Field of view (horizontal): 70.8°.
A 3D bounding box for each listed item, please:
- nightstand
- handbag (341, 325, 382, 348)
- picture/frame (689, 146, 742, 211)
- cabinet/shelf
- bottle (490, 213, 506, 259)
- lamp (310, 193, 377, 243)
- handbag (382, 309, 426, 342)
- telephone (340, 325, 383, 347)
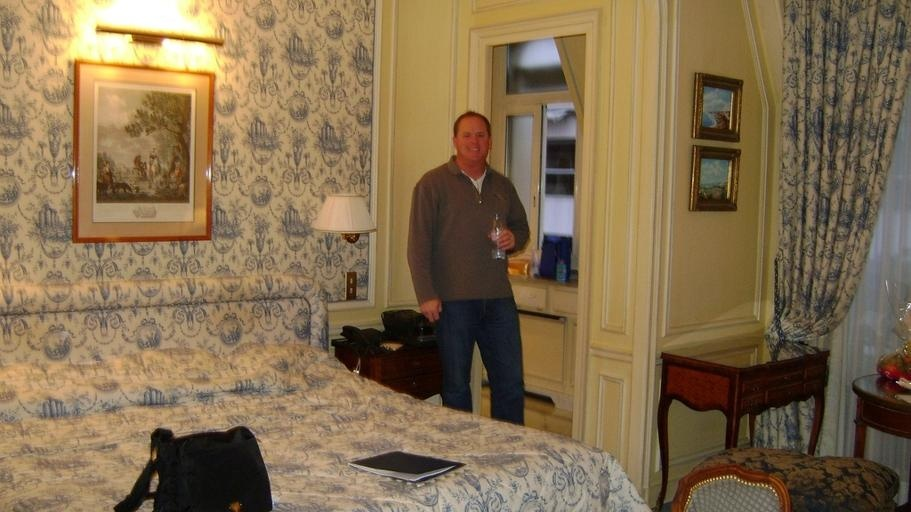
[{"bbox_3d":[-0.592,0.836,5.842,0.823,0.752,0.585,-5,8,-42],"label":"nightstand"},{"bbox_3d":[-0.810,0.720,5.733,0.224,0.088,0.212,7,1,41],"label":"handbag"},{"bbox_3d":[2.277,-0.705,5.716,0.616,0.599,0.066,-1,4,-34],"label":"picture/frame"},{"bbox_3d":[0.770,0.918,6.458,0.624,1.448,1.577,1,-1,-41],"label":"cabinet/shelf"},{"bbox_3d":[0.347,-0.143,5.183,0.123,0.419,0.347,2,14,3],"label":"bottle"},{"bbox_3d":[-0.964,-0.336,5.577,0.417,0.324,0.415,0,5,22],"label":"lamp"},{"bbox_3d":[-0.472,0.638,5.878,0.237,0.204,0.361,-2,2,-43],"label":"handbag"},{"bbox_3d":[-0.811,0.720,5.740,0.237,0.090,0.199,1,-1,42],"label":"telephone"}]
